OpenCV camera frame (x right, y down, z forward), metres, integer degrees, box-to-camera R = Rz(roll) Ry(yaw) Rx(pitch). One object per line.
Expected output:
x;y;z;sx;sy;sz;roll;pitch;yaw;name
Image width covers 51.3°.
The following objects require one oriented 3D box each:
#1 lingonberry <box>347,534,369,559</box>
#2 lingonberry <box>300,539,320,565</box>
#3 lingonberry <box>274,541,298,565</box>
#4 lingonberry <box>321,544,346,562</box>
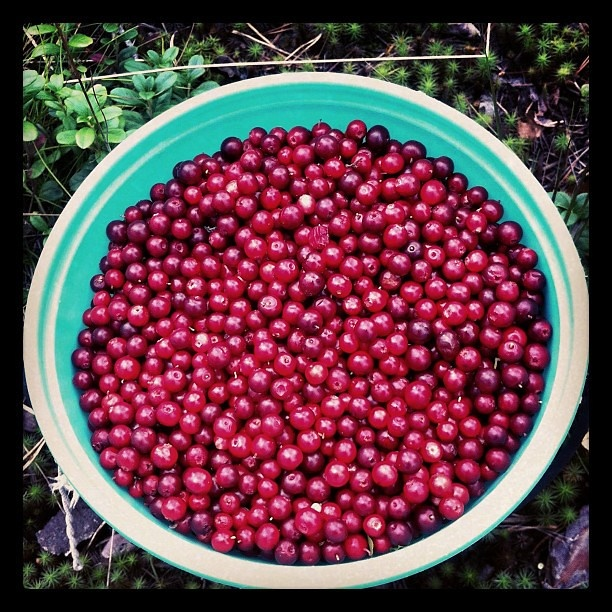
0.142;0.686;1.810;0.069;0.037;0.070;-10;81;-1;lingonberry
0.008;0.702;1.806;0.059;0.060;0.072;1;91;4;lingonberry
-0.057;0.689;1.776;0.062;0.065;0.075;2;92;6;lingonberry
0.077;0.701;1.798;0.056;0.054;0.065;0;86;4;lingonberry
